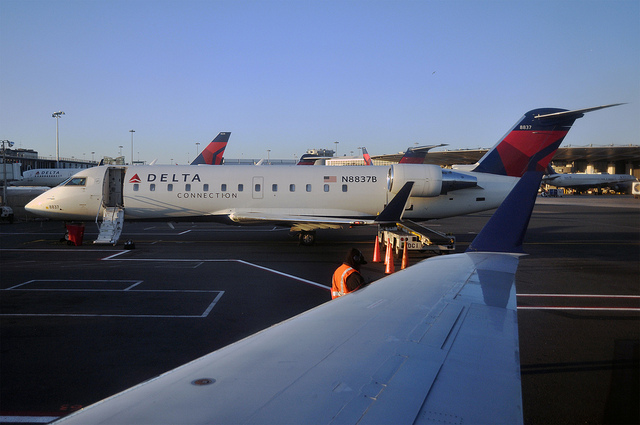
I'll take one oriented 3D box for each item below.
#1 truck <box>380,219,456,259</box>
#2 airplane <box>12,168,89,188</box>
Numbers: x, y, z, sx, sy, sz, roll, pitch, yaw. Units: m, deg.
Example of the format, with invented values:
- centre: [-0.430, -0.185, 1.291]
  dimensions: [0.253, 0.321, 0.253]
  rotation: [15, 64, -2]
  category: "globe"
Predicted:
- centre: [3.809, 1.220, 20.865]
  dimensions: [1.606, 0.631, 2.610]
  rotation: [-1, 6, -8]
  category: "truck"
- centre: [-27.361, -3.407, 51.970]
  dimensions: [5.123, 1.876, 4.341]
  rotation: [-1, 4, -11]
  category: "airplane"
